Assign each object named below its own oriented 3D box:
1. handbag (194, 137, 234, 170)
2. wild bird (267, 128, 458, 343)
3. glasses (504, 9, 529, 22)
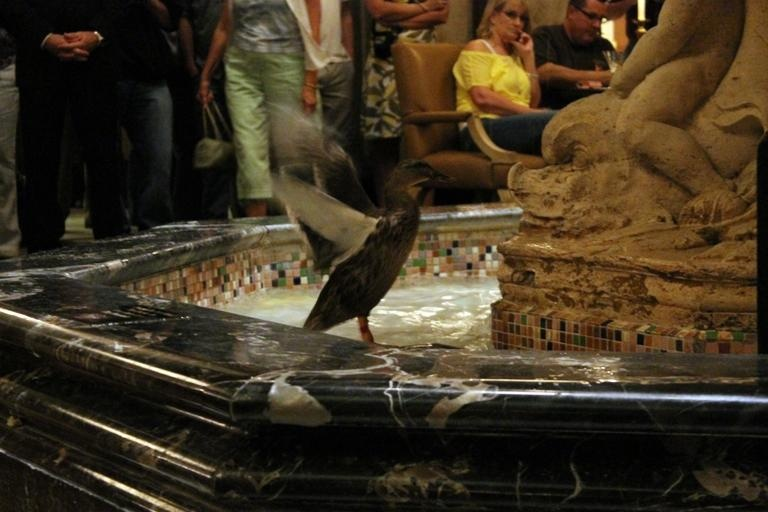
[{"bbox_3d":[-1.040,-0.624,5.157,0.067,0.095,0.260,9,15,38],"label":"handbag"},{"bbox_3d":[-0.071,-0.039,2.664,0.281,0.720,0.492,15,19,36],"label":"wild bird"},{"bbox_3d":[0.812,-1.504,5.347,0.088,0.028,0.097,5,1,-10],"label":"glasses"}]
